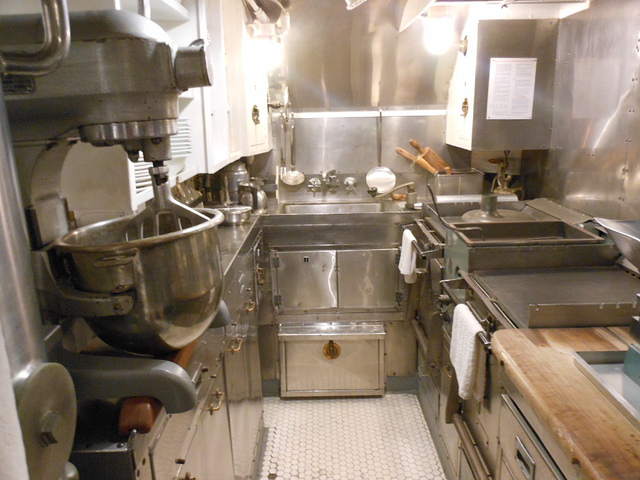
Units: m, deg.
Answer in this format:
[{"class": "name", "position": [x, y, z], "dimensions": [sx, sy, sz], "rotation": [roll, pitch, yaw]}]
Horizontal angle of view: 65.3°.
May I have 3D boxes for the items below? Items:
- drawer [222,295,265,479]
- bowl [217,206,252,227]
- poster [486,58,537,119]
[{"class": "drawer", "position": [-0.342, 0.708, 2.275], "dimensions": [0.206, 0.274, 0.621], "rotation": [2, -77, -4]}, {"class": "bowl", "position": [-0.480, -0.142, 2.838], "dimensions": [0.193, 0.213, 0.101], "rotation": [-1, -80, -8]}, {"class": "poster", "position": [1.098, -0.870, 2.866], "dimensions": [0.265, 0.093, 0.317], "rotation": [-1, -62, -1]}]
